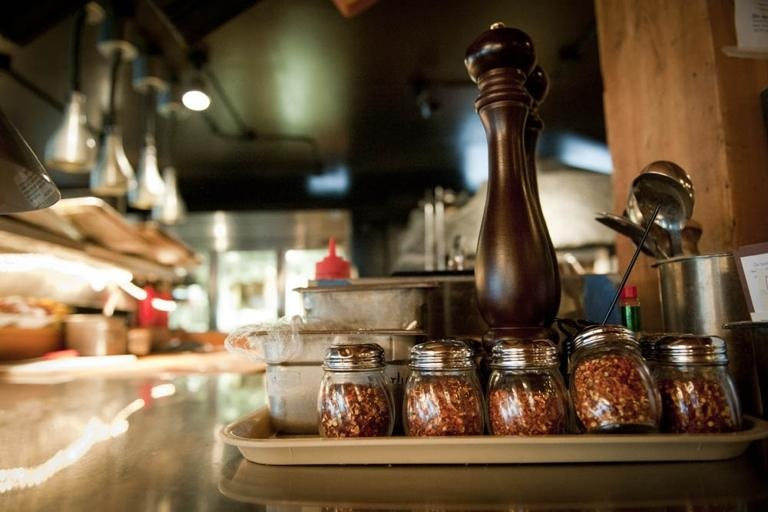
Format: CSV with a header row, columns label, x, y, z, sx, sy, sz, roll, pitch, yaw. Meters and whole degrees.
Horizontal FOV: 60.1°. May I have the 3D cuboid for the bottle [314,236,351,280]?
label,x,y,z,sx,sy,sz,roll,pitch,yaw
bottle,-0.144,0.009,1.976,0.116,0.123,0.116,0,-12,-2

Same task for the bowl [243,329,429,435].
label,x,y,z,sx,sy,sz,roll,pitch,yaw
bowl,-0.119,0.349,1.895,0.376,0.272,0.447,-2,-6,7
